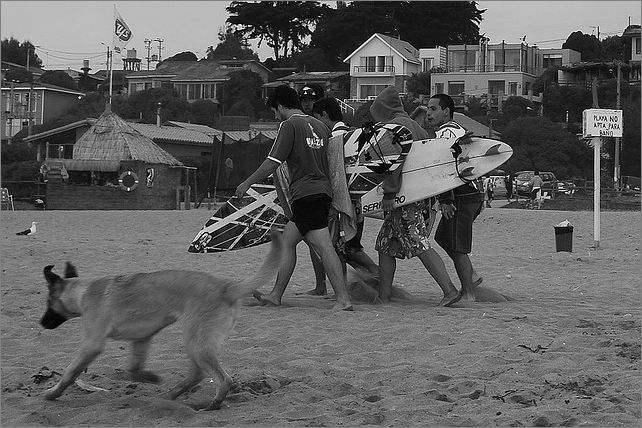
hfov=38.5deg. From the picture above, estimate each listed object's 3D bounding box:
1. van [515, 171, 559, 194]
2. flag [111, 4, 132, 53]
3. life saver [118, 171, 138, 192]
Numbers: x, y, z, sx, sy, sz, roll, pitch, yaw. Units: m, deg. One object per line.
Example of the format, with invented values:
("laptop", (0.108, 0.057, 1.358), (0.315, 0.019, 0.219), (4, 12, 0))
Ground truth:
("van", (11.433, -1.684, 48.188), (1.657, 1.078, 2.782), (0, -1, 41))
("flag", (-11.338, -10.391, 52.218), (0.952, 2.310, 2.226), (-3, 15, -10))
("life saver", (-7.741, -1.316, 37.318), (1.034, 0.852, 0.741), (-1, -1, 1))
